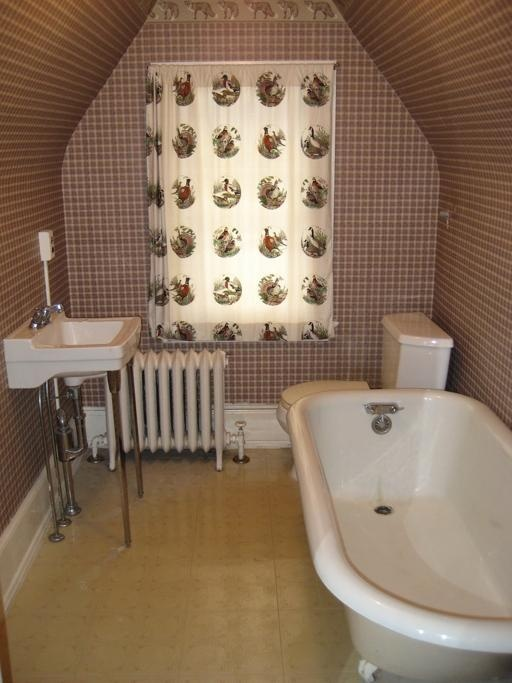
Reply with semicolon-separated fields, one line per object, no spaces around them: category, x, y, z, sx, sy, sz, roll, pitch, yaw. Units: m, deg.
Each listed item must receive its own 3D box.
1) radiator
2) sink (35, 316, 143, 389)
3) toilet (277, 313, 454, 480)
radiator;-0.477;0.375;2.845;0.653;0.637;0.157;1;26;-1
sink;-0.662;-0.028;2.010;0.241;0.142;0.380;-2;23;-4
toilet;0.555;0.218;2.807;0.759;0.800;0.617;1;25;4
